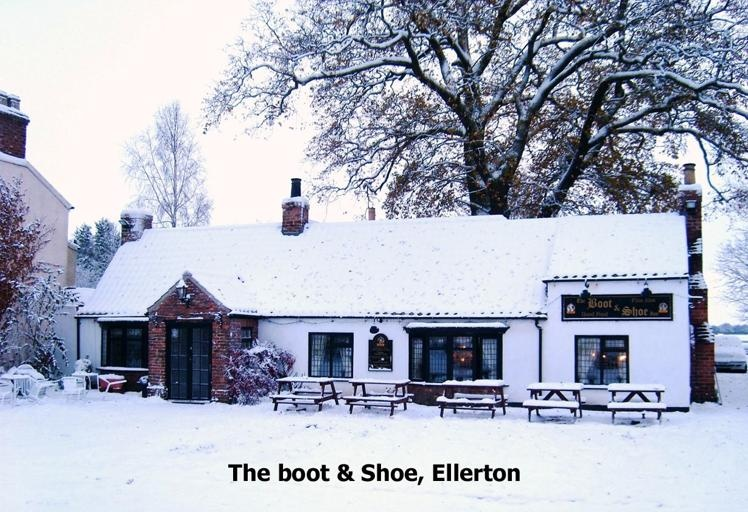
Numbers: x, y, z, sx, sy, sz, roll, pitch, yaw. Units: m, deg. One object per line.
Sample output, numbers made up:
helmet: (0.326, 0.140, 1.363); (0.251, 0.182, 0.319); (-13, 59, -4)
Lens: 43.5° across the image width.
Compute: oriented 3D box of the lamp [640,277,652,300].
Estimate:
lamp: (10.826, 1.337, 37.361); (0.390, 0.764, 0.270); (4, 13, 17)

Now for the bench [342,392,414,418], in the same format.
bench: (0.087, 5.934, 37.686); (2.609, 0.927, 1.953); (0, 12, 1)

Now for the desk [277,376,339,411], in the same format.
desk: (-2.995, 5.863, 38.727); (1.645, 1.765, 2.923); (6, 1, 21)

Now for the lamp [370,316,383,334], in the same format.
lamp: (0.043, 2.981, 39.448); (0.451, 0.791, 0.296); (5, -9, 9)

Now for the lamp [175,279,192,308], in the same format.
lamp: (-8.021, 1.570, 39.424); (0.598, 1.117, 0.352); (-3, 13, -12)

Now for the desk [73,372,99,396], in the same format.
desk: (-12.664, 5.632, 41.221); (0.880, 0.706, 0.824); (-2, -9, 4)
